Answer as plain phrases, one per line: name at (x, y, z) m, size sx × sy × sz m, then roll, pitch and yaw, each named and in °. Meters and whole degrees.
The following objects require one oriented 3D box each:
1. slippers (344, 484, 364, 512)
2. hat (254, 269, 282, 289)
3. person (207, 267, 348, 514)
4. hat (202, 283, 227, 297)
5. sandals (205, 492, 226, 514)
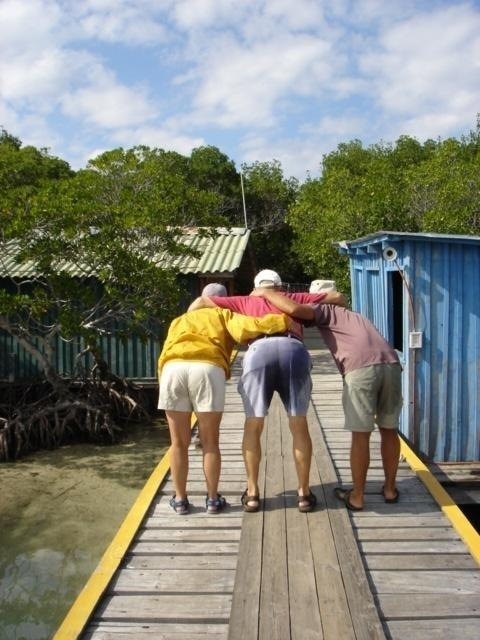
slippers at (0.674, 1.052, 3.782) m, size 0.065 × 0.052 × 0.165 m, roll -1°, pitch 18°, yaw 5°
hat at (0.173, -0.241, 3.910) m, size 0.108 × 0.122 × 0.149 m, roll -9°, pitch -25°, yaw 14°
person at (0.207, 0.420, 3.705) m, size 0.695 × 1.365 × 0.592 m, roll -2°, pitch 11°, yaw -2°
hat at (-0.157, -0.184, 3.973) m, size 0.127 × 0.108 × 0.091 m, roll 3°, pitch 2°, yaw 6°
sandals at (-0.145, 1.088, 3.784) m, size 0.065 × 0.069 × 0.156 m, roll -1°, pitch 1°, yaw 9°
